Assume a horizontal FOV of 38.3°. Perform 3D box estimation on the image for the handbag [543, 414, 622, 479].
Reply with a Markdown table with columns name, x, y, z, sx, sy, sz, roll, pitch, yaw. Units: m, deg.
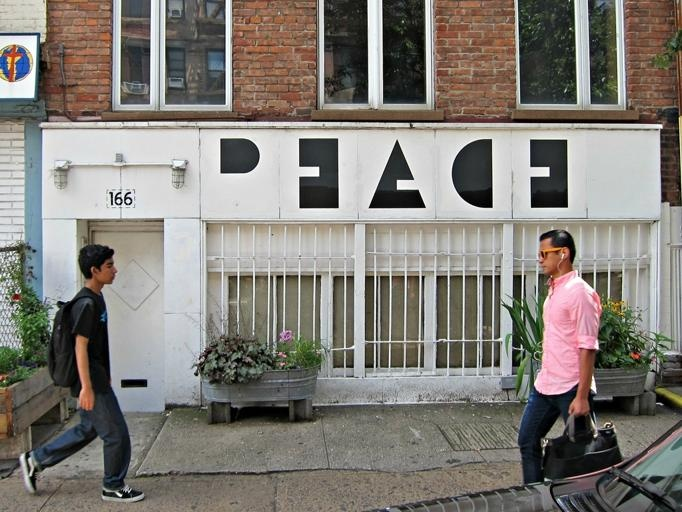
| name | x | y | z | sx | sy | sz | roll | pitch | yaw |
| --- | --- | --- | --- | --- | --- | --- | --- | --- | --- |
| handbag | 2.496 | 2.014 | 10.243 | 0.576 | 0.581 | 0.281 | -10 | -15 | 2 |

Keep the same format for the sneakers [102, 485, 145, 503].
| name | x | y | z | sx | sy | sz | roll | pitch | yaw |
| --- | --- | --- | --- | --- | --- | --- | --- | --- | --- |
| sneakers | -2.462 | 2.705 | 11.195 | 0.472 | 0.226 | 0.185 | 1 | 1 | -6 |

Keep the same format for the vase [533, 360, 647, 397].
| name | x | y | z | sx | sy | sz | roll | pitch | yaw |
| --- | --- | --- | --- | --- | --- | --- | --- | --- | --- |
| vase | 3.468 | 1.643 | 12.868 | 0.929 | 0.358 | 0.821 | -1 | -4 | 6 |

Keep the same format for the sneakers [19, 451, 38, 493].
| name | x | y | z | sx | sy | sz | roll | pitch | yaw |
| --- | --- | --- | --- | --- | --- | --- | --- | --- | --- |
| sneakers | -3.523 | 2.453 | 11.233 | 0.188 | 0.504 | 0.173 | -7 | 4 | -4 |
